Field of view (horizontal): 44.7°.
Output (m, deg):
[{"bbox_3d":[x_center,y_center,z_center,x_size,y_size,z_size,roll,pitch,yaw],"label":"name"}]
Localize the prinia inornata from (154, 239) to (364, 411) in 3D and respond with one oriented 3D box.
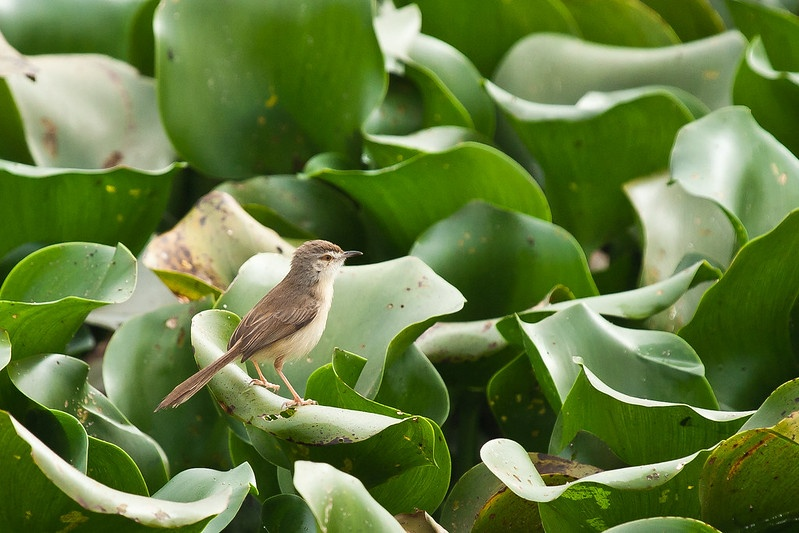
[{"bbox_3d":[-0.231,0.098,1.656,0.339,0.259,0.119,-3,5,-22],"label":"prinia inornata"}]
